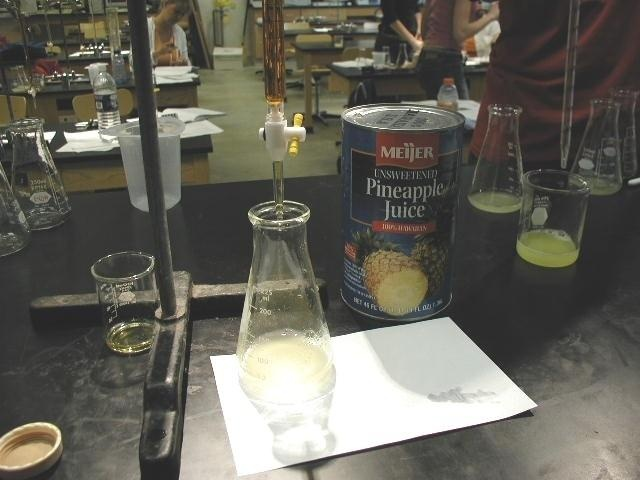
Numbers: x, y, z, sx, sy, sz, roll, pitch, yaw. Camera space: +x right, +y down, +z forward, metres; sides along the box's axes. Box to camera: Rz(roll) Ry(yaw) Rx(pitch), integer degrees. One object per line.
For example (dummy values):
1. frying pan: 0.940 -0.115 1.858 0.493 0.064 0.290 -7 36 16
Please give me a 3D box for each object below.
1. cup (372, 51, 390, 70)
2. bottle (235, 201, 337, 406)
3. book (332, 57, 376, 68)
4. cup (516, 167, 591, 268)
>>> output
1. cup: 0.510 -1.485 4.456 0.170 0.130 0.169 -2 29 1
2. bottle: -0.050 0.086 0.745 0.137 0.243 0.184 -2 29 1
3. book: 0.331 -1.593 4.823 0.287 0.068 0.290 -11 27 -20
4. cup: 0.439 -0.058 1.096 0.200 0.208 0.134 8 23 24
